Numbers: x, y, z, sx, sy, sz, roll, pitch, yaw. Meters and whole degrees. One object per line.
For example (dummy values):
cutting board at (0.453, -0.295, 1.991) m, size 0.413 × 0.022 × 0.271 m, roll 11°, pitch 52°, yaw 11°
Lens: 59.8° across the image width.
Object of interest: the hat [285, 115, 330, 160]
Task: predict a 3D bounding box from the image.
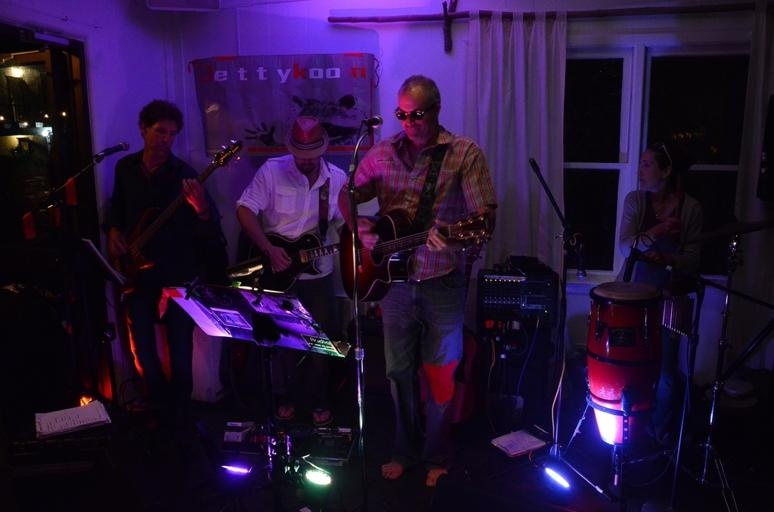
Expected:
hat at (-0.672, -1.036, 5.581) m, size 0.355 × 0.201 × 0.553 m, roll 4°, pitch 37°, yaw -5°

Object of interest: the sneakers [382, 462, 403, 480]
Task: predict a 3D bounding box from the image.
sneakers at (0.039, 1.593, 5.013) m, size 0.119 × 0.045 × 0.101 m, roll -13°, pitch 27°, yaw -19°

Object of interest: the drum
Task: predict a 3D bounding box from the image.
drum at (1.689, 0.745, 4.786) m, size 0.464 × 1.055 × 0.416 m, roll -9°, pitch 15°, yaw -32°

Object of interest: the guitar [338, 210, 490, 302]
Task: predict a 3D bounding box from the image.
guitar at (0.139, 0.028, 4.858) m, size 1.253 × 0.748 × 0.259 m, roll 6°, pitch 14°, yaw 27°

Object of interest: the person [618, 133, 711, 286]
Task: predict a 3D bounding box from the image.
person at (2.199, -0.299, 5.384) m, size 0.642 × 1.109 × 1.102 m, roll 5°, pitch 15°, yaw 26°

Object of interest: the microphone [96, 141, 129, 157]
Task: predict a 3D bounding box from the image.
microphone at (-2.273, -0.878, 5.504) m, size 0.247 × 0.073 × 0.083 m, roll -24°, pitch 60°, yaw -3°

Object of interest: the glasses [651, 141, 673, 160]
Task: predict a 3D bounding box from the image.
glasses at (2.303, -0.884, 5.586) m, size 0.092 × 0.071 × 0.173 m, roll -2°, pitch 58°, yaw -18°

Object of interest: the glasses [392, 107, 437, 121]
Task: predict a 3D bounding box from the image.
glasses at (0.183, -0.964, 4.615) m, size 0.250 × 0.091 × 0.196 m, roll 0°, pitch 15°, yaw 4°

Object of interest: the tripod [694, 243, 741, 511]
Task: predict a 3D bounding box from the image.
tripod at (2.534, 0.742, 4.992) m, size 0.347 × 1.859 × 1.004 m, roll 5°, pitch 14°, yaw 28°
